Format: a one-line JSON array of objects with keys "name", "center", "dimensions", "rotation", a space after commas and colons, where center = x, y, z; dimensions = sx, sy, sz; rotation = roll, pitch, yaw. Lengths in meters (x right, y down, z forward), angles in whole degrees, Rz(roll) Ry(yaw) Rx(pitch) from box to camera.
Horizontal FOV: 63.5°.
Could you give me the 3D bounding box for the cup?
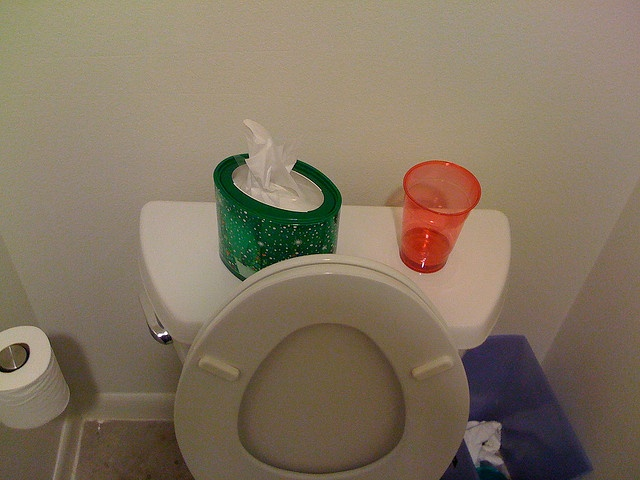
[{"name": "cup", "center": [0.213, -0.036, 0.909], "dimensions": [0.128, 0.147, 0.126], "rotation": [2, 48, -3]}]
